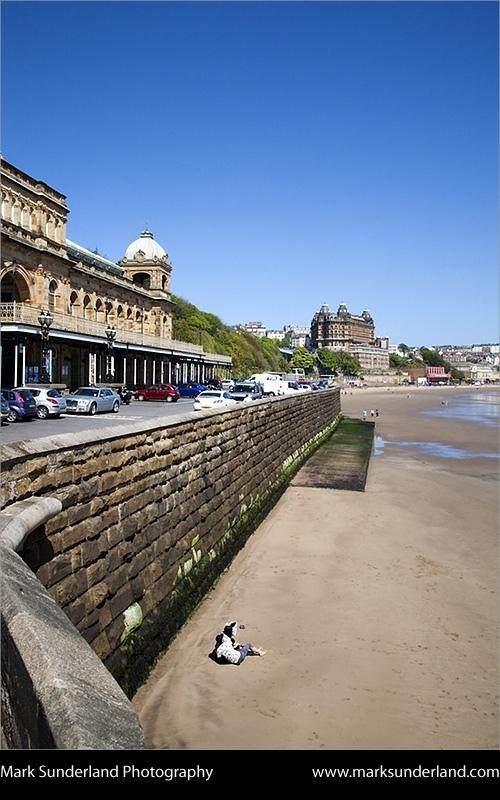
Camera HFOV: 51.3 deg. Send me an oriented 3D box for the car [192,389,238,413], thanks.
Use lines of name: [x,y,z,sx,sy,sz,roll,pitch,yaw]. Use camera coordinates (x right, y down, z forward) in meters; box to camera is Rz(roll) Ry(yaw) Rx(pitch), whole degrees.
car: [-2.021,-0.033,30.167,1.294,1.130,3.096,2,8,11]

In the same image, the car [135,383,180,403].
car: [-7.181,-0.530,40.507,3.344,1.256,0.812,3,2,19]

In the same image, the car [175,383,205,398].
car: [-5.822,-0.901,48.721,2.684,1.478,1.587,5,5,14]

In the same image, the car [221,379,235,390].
car: [-2.504,-1.971,58.340,1.231,1.189,2.238,1,13,-2]

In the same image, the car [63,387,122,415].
car: [-7.887,0.037,26.876,1.146,0.984,2.779,0,-4,12]

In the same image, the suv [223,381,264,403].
suv: [-0.326,-0.586,34.060,1.183,1.113,2.060,-1,-4,16]
